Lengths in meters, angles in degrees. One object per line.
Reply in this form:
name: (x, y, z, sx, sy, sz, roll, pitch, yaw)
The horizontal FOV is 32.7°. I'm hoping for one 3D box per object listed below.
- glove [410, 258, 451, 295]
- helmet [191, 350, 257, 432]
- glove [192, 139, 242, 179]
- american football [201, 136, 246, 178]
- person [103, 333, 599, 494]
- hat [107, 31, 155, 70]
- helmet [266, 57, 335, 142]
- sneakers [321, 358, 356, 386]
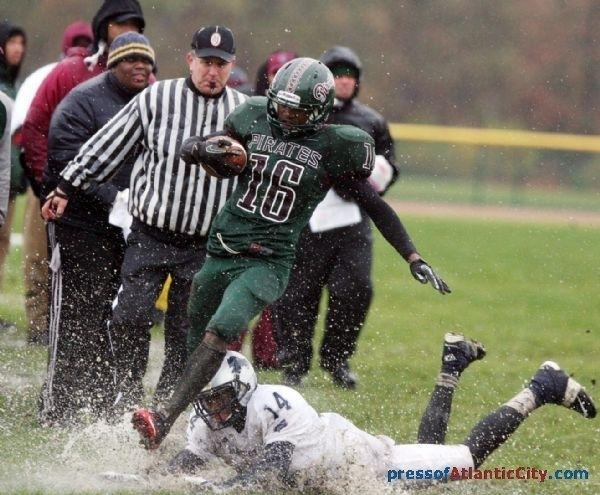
glove: (0.794, 0.153, 6.011, 0.277, 0.091, 0.149, 38, -20, 17)
helmet: (-0.360, 0.767, 5.567, 0.325, 0.375, 0.307, 54, -34, -9)
glove: (-0.435, -0.503, 5.688, 0.190, 0.146, 0.240, 25, -12, -4)
american football: (-0.426, -0.504, 5.686, 0.193, 0.197, 0.247, -20, -2, -7)
person: (0.235, 0.960, 5.875, 2.512, 0.757, 0.910, 3, -20, -12)
hat: (-1.072, -1.264, 6.440, 0.249, 0.194, 0.250, 4, -2, -36)
helmet: (0.002, -0.844, 5.744, 0.373, 0.463, 0.241, 8, 5, -4)
sneakers: (0.286, 0.900, 7.363, 0.308, 0.109, 0.139, 36, -13, 39)
